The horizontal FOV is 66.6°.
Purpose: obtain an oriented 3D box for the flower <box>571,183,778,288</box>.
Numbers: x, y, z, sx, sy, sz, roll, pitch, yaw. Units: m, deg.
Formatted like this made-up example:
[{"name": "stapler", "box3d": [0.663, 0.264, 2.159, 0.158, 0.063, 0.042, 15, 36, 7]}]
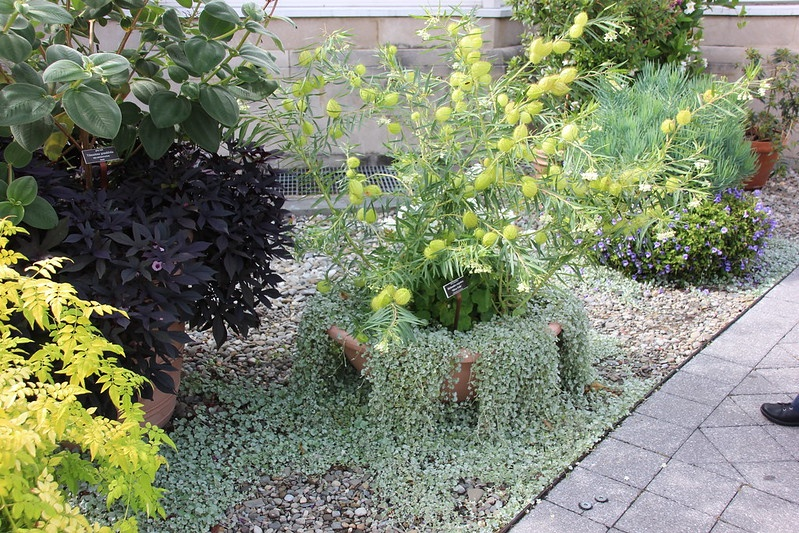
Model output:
[{"name": "flower", "box3d": [2.035, -0.151, 4.287, 1.041, 0.443, 1.019, -30, 27, -36]}]
